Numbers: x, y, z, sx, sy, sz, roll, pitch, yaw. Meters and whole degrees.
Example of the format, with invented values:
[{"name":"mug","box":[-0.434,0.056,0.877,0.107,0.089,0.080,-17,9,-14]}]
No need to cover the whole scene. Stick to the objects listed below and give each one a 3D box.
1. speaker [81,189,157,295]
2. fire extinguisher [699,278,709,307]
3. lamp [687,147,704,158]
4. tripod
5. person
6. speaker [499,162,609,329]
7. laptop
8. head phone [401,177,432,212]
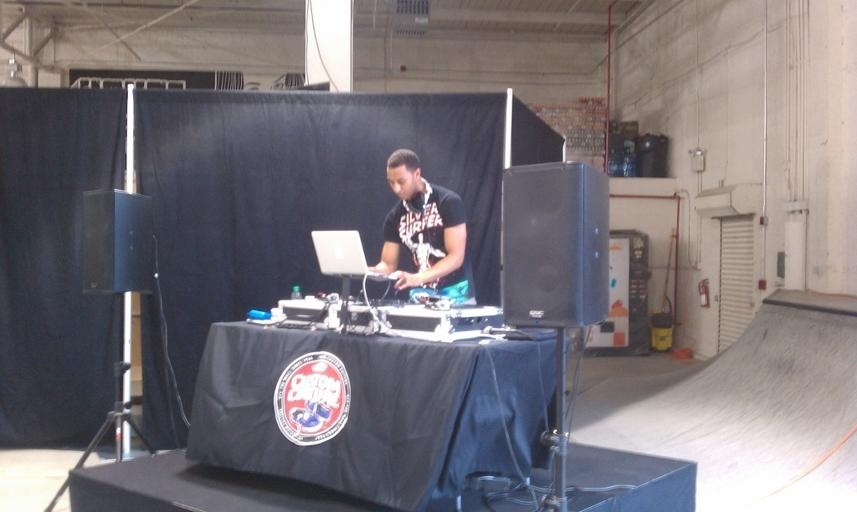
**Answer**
[{"name":"speaker","box":[-3.516,-0.158,10.332,0.776,1.151,0.327,0,3,-19]},{"name":"fire extinguisher","box":[4.267,0.575,14.043,0.090,0.440,0.300,0,3,-15]},{"name":"lamp","box":[4.151,-1.576,14.116,0.147,0.180,0.402,0,3,-15]},{"name":"tripod","box":[-3.745,1.579,10.300,1.333,2.309,1.033,-2,4,-45]},{"name":"person","box":[-0.059,-0.276,10.464,1.133,1.835,0.745,14,-35,-27]},{"name":"speaker","box":[1.298,-0.109,9.239,1.093,1.643,0.387,1,3,9]},{"name":"laptop","box":[-0.833,0.091,9.765,0.574,0.457,0.581,-2,-8,33]},{"name":"head phone","box":[-0.095,-0.640,10.433,0.288,0.397,0.154,-5,-24,19]}]
